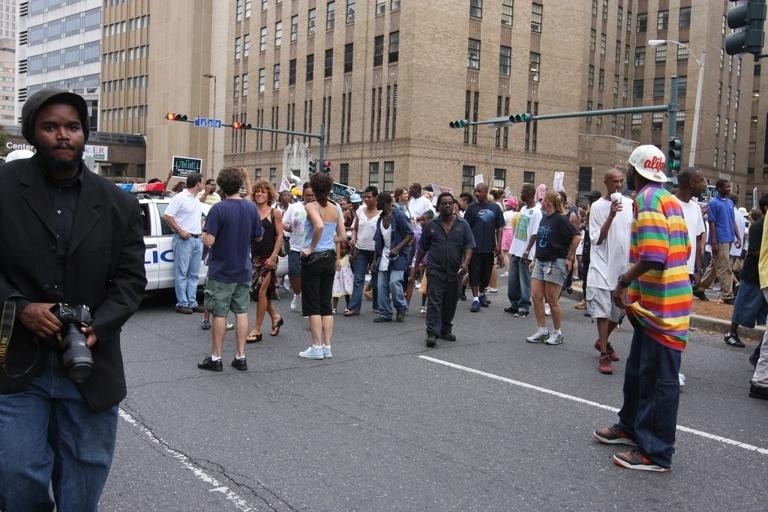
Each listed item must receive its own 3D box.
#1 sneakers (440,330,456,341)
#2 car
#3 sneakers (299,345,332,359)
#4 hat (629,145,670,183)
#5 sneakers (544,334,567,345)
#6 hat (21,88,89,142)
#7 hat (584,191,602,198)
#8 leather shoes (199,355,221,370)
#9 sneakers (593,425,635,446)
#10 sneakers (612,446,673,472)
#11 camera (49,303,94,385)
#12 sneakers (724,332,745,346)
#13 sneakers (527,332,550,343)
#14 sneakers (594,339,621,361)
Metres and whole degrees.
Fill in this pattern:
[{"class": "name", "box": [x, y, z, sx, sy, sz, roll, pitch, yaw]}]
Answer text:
[{"class": "sneakers", "box": [0.967, 1.241, 10.725, 0.104, 0.129, 0.279, 1, -7, -26]}, {"class": "car", "box": [-3.085, -0.203, 13.730, 3.981, 1.316, 1.681, 4, -5, -39]}, {"class": "sneakers", "box": [-0.927, 1.294, 9.282, 0.392, 0.156, 0.191, 2, 2, 16]}, {"class": "hat", "box": [2.560, -0.881, 6.841, 0.326, 0.254, 0.458, -5, 33, -20]}, {"class": "sneakers", "box": [2.606, 1.267, 10.560, 0.337, 0.154, 0.130, 0, -1, -29]}, {"class": "hat", "box": [-2.100, -0.904, 4.405, 0.317, 0.233, 0.441, 2, -29, -35]}, {"class": "hat", "box": [4.154, -1.207, 13.800, 0.347, 0.174, 0.248, 10, 0, 18]}, {"class": "leather shoes", "box": [-2.165, 1.316, 8.609, 0.347, 0.150, 0.130, 4, 2, 33]}, {"class": "sneakers", "box": [2.188, 1.728, 6.720, 0.398, 0.173, 0.156, 7, 1, 11]}, {"class": "sneakers", "box": [2.302, 1.843, 6.266, 0.487, 0.215, 0.191, 8, -9, 10]}, {"class": "camera", "box": [-1.860, 0.520, 4.191, 0.180, 0.463, 0.270, -44, -32, 21]}, {"class": "sneakers", "box": [5.415, 1.319, 10.868, 0.137, 0.162, 0.380, 1, -3, -14]}, {"class": "sneakers", "box": [2.353, 1.256, 10.659, 0.381, 0.154, 0.148, 1, -3, -4]}, {"class": "sneakers", "box": [3.062, 1.306, 9.556, 0.201, 0.256, 0.598, 0, -3, 0]}]
